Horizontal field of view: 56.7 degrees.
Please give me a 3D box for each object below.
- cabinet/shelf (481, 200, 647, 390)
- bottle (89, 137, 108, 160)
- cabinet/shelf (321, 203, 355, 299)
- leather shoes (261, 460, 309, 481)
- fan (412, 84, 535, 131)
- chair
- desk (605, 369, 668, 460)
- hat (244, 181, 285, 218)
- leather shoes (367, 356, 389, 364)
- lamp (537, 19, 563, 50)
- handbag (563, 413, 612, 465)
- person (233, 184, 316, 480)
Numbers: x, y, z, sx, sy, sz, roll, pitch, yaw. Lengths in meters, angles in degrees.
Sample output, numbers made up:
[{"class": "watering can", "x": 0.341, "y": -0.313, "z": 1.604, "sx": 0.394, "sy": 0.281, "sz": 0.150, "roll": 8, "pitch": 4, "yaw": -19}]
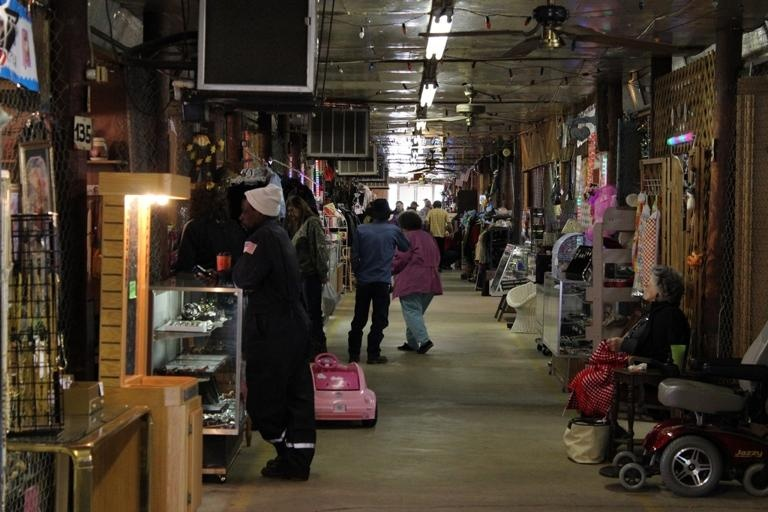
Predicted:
[{"class": "cabinet/shelf", "x": 2.339, "y": 0.540, "z": 9.340, "sx": 0.924, "sy": 2.537, "sz": 2.639, "roll": 3, "pitch": -1, "yaw": 0}, {"class": "bottle", "x": -3.534, "y": -1.334, "z": 8.825, "sx": 0.200, "sy": 0.304, "sz": 0.332, "roll": -2, "pitch": 6, "yaw": -21}, {"class": "cabinet/shelf", "x": -0.915, "y": -0.093, "z": 14.025, "sx": 0.822, "sy": 2.150, "sz": 2.217, "roll": 0, "pitch": 1, "yaw": 1}, {"class": "leather shoes", "x": -0.799, "y": 1.728, "z": 5.802, "sx": 0.408, "sy": 0.184, "sz": 0.152, "roll": 3, "pitch": -2, "yaw": 21}, {"class": "fan", "x": 1.308, "y": -2.696, "z": 12.214, "sx": 0.853, "sy": 0.690, "sz": 1.232, "roll": 1, "pitch": 0, "yaw": -37}, {"class": "chair", "x": 2.623, "y": 0.963, "z": 5.942, "sx": 0.849, "sy": 0.945, "sz": 0.607, "roll": 8, "pitch": -7, "yaw": 8}, {"class": "desk", "x": 2.069, "y": 1.305, "z": 6.143, "sx": 0.448, "sy": 0.505, "sz": 0.418, "roll": 13, "pitch": -7, "yaw": -35}, {"class": "hat", "x": -0.968, "y": -0.484, "z": 5.744, "sx": 0.323, "sy": 0.305, "sz": 0.306, "roll": 16, "pitch": 1, "yaw": 0}, {"class": "leather shoes", "x": -0.086, "y": 1.364, "z": 9.409, "sx": 0.261, "sy": 0.182, "sz": 0.099, "roll": -4, "pitch": 0, "yaw": -9}, {"class": "lamp", "x": 1.460, "y": -1.962, "z": 6.291, "sx": 0.211, "sy": 0.236, "sz": 0.211, "roll": 0, "pitch": 4, "yaw": 6}, {"class": "handbag", "x": 1.745, "y": 1.564, "z": 6.081, "sx": 0.367, "sy": 0.321, "sz": 0.360, "roll": 1, "pitch": -5, "yaw": -5}, {"class": "person", "x": -0.873, "y": 0.780, "z": 5.651, "sx": 0.616, "sy": 2.029, "sz": 0.283, "roll": -1, "pitch": 5, "yaw": -12}]
